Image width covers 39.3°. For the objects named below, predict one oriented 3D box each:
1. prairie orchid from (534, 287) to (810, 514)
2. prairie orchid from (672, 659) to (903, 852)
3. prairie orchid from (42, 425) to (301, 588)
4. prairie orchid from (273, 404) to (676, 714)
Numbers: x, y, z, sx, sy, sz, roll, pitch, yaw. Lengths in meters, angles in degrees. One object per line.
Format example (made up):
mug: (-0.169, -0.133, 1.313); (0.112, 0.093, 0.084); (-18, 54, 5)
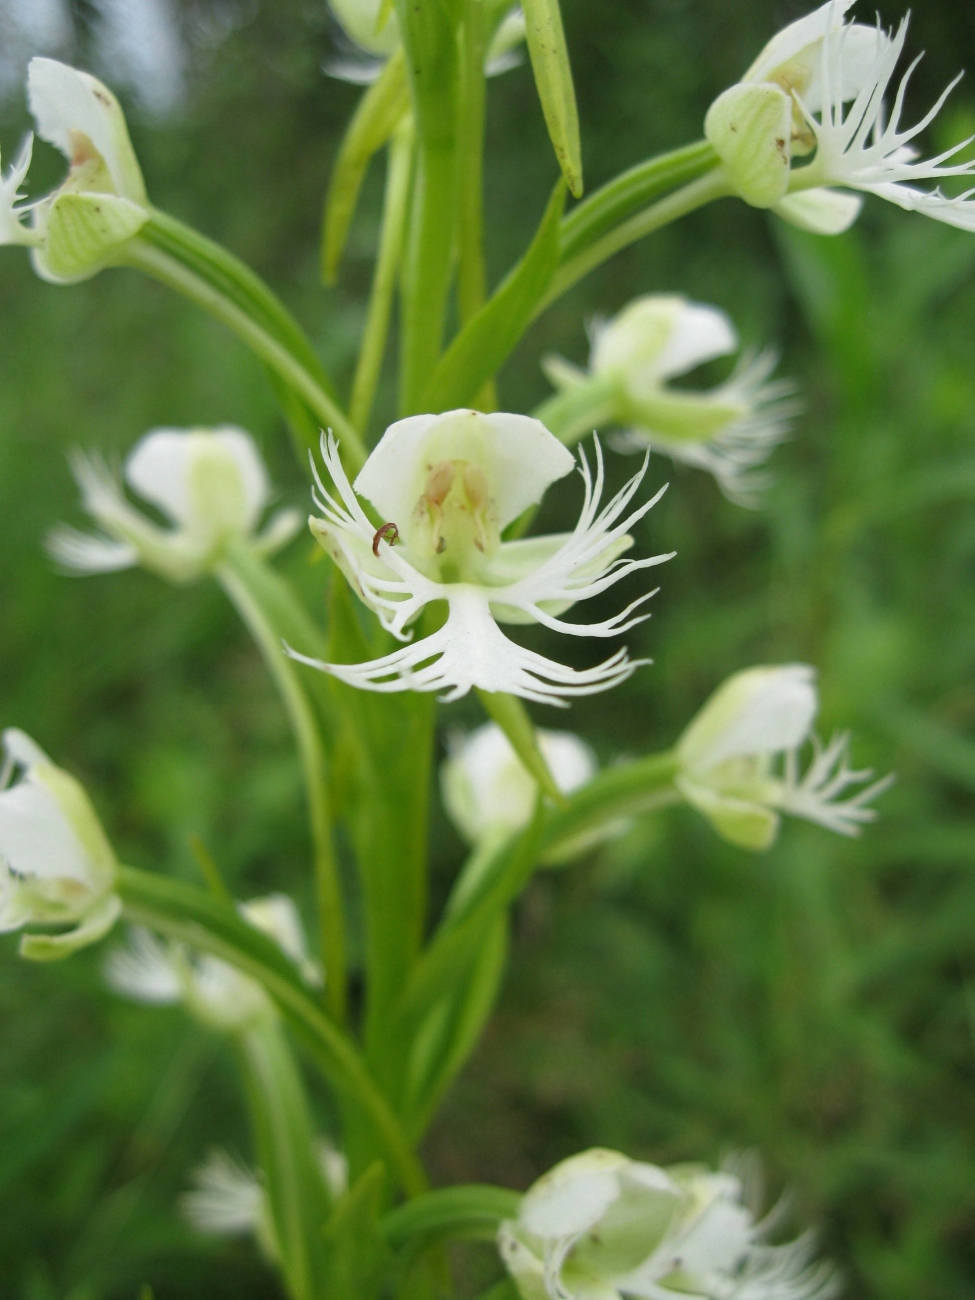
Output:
prairie orchid: (0.106, -0.172, 0.906); (0.197, 0.134, 0.077); (-7, -9, -35)
prairie orchid: (0.144, 0.052, 0.713); (0.094, 0.095, 0.138); (-11, -2, 11)
prairie orchid: (-0.207, -0.091, 0.885); (0.157, 0.094, 0.186); (-11, -2, 15)
prairie orchid: (-0.007, -0.011, 0.609); (0.144, 0.148, 0.073); (-1, -23, 0)
